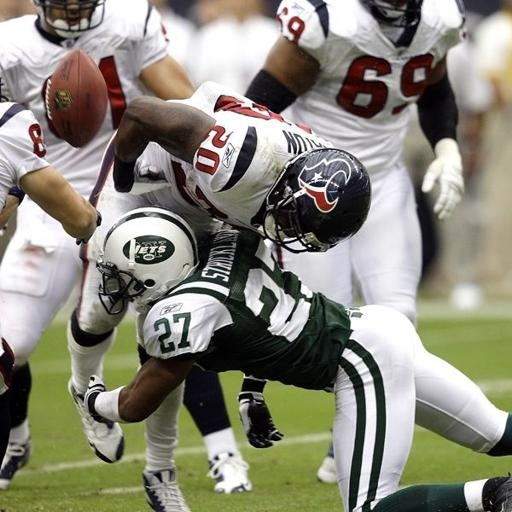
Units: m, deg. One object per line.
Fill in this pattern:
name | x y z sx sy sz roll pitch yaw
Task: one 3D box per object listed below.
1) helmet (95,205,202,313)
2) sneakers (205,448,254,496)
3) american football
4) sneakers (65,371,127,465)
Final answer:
helmet | -0.305 0.006 2.004 0.324 0.267 0.248 -3 24 18
sneakers | -0.090 0.797 2.536 0.086 0.071 0.186 -3 3 -13
american football | -0.599 -0.560 2.426 0.256 0.213 0.355 4 4 -12
sneakers | -0.529 0.586 2.400 0.151 0.342 0.115 -29 4 37
